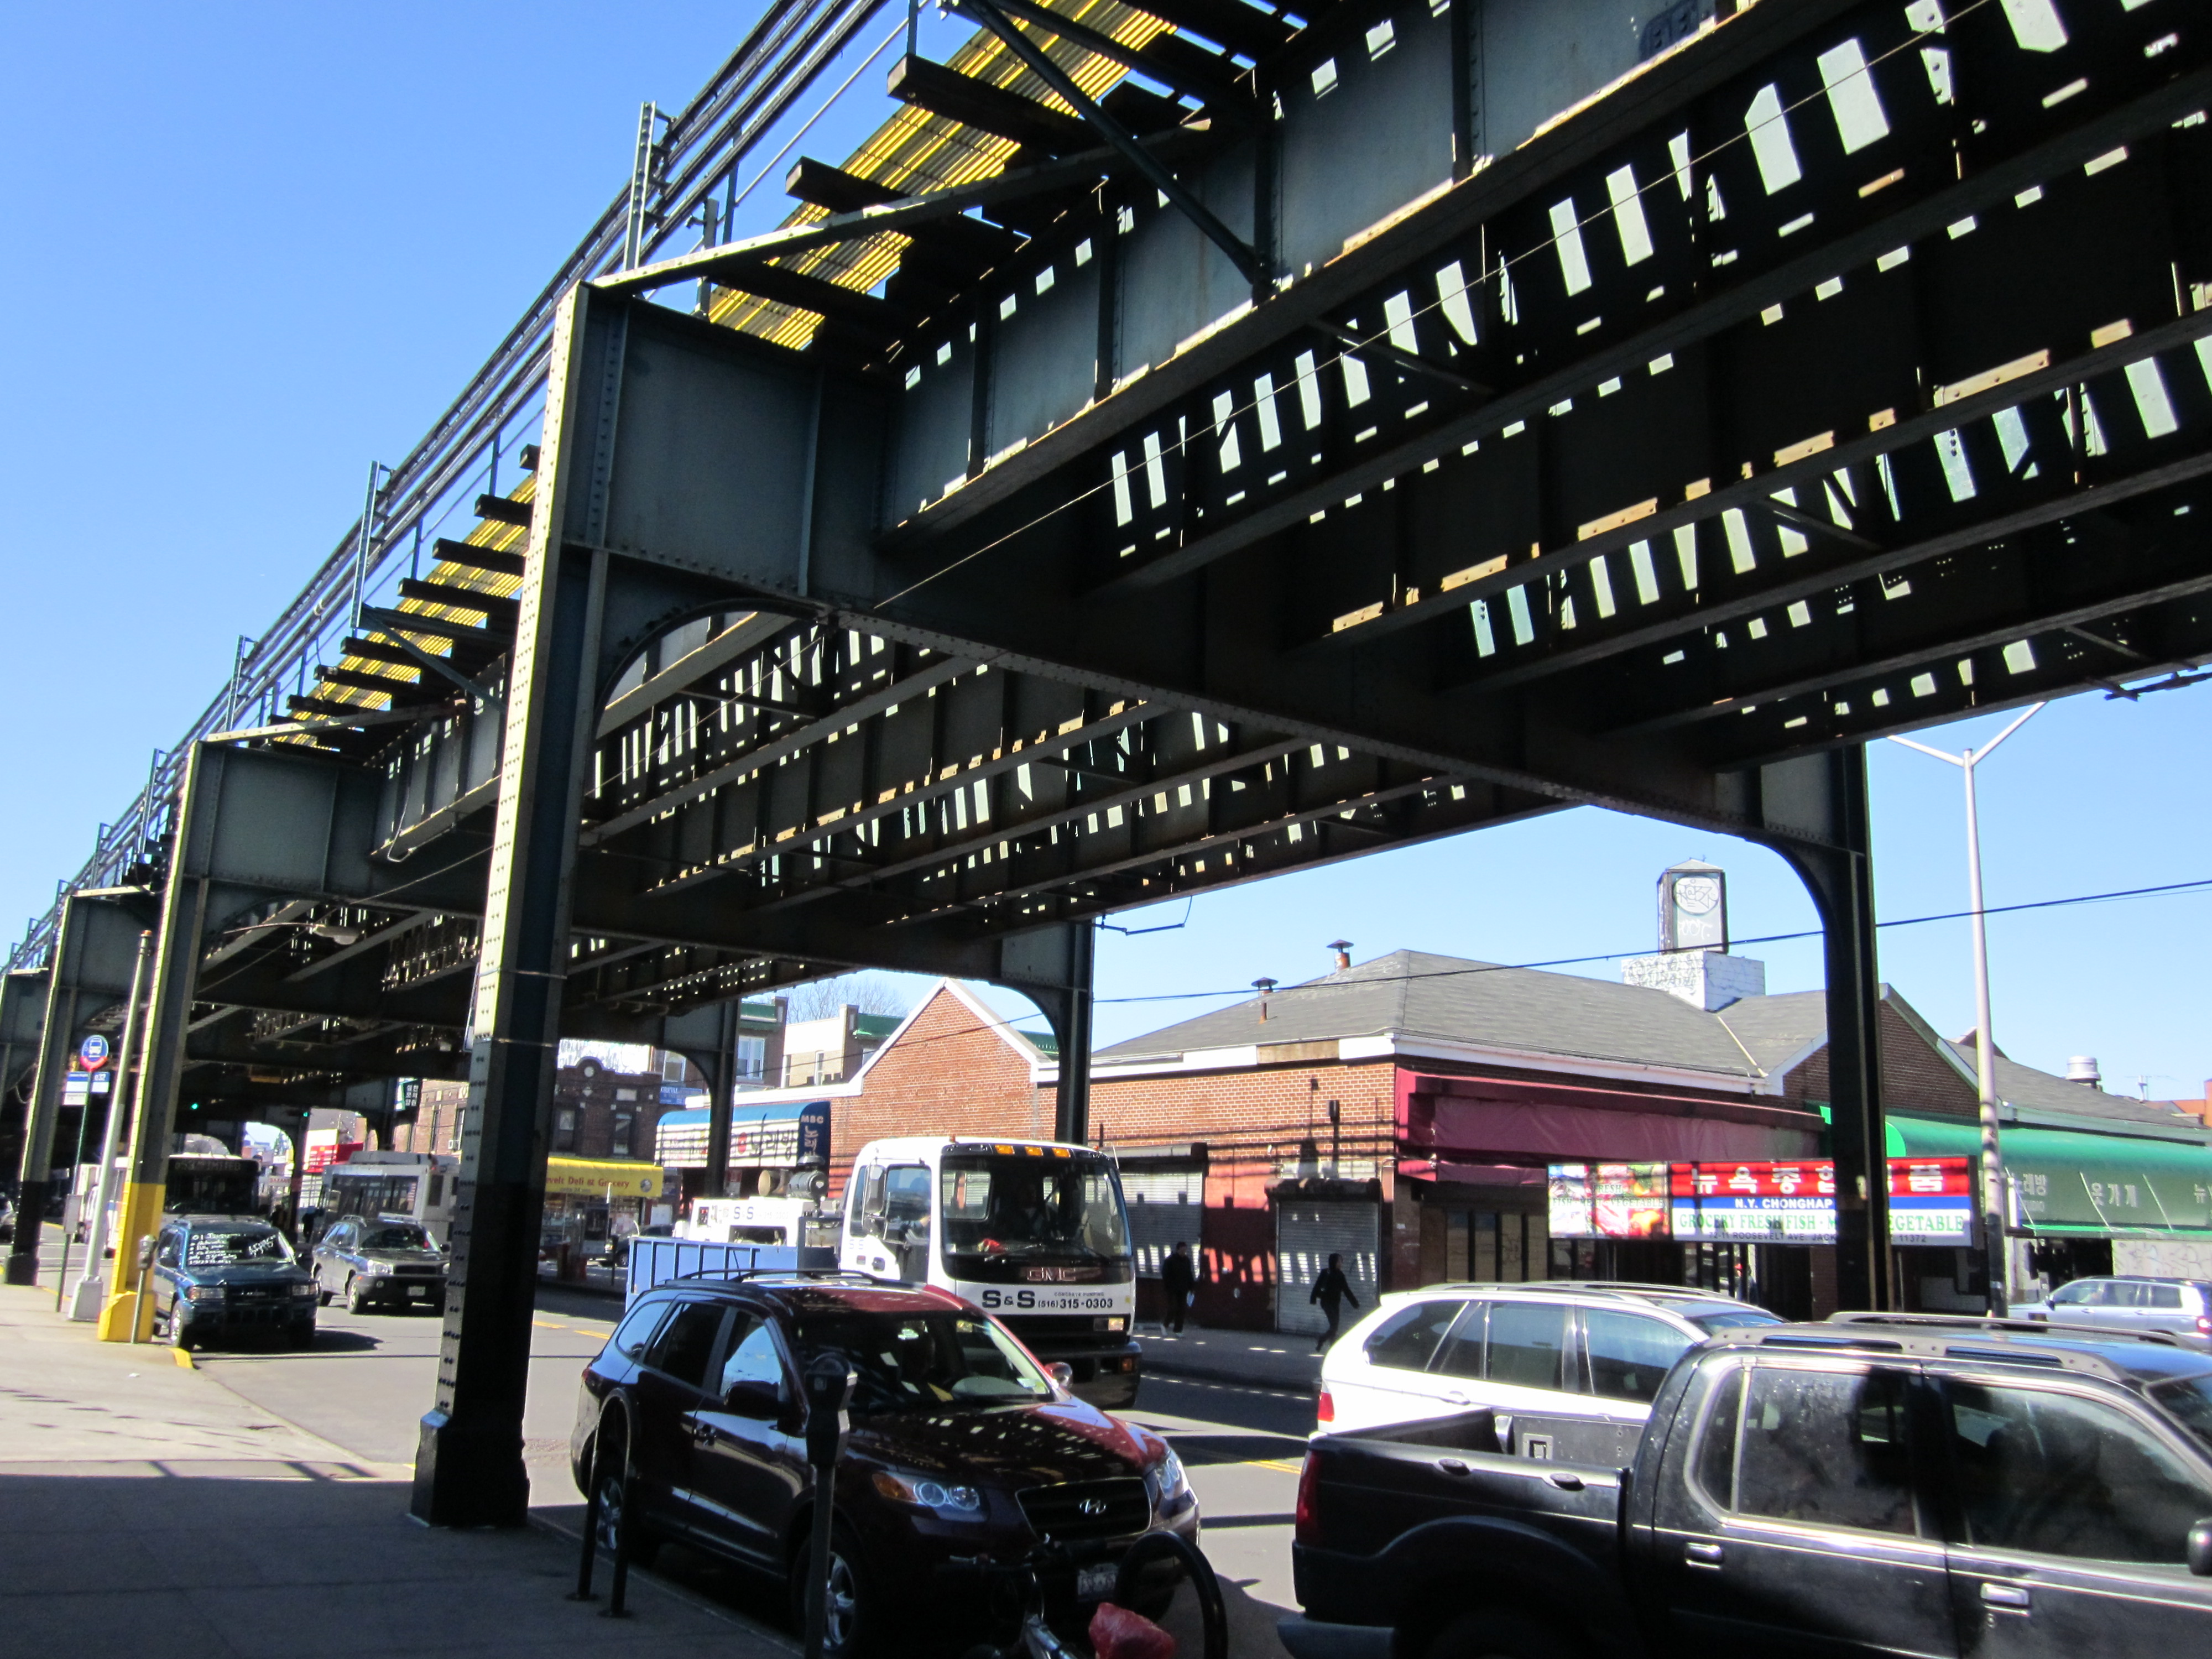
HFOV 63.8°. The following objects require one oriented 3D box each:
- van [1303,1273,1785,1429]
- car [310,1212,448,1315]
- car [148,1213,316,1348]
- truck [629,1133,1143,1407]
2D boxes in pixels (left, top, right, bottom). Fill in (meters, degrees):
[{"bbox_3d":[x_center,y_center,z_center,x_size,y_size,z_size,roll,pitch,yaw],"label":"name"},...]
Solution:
[{"bbox_3d":[3.226,3.836,13.161,1.746,1.270,3.760,16,-25,-40],"label":"van"},{"bbox_3d":[-14.525,8.763,35.829,1.486,1.861,3.270,13,-19,-38],"label":"car"},{"bbox_3d":[-13.963,6.884,28.222,2.016,1.517,4.404,7,-7,-40],"label":"car"},{"bbox_3d":[-1.510,4.855,20.327,2.744,2.662,6.806,13,-26,-32],"label":"truck"}]
